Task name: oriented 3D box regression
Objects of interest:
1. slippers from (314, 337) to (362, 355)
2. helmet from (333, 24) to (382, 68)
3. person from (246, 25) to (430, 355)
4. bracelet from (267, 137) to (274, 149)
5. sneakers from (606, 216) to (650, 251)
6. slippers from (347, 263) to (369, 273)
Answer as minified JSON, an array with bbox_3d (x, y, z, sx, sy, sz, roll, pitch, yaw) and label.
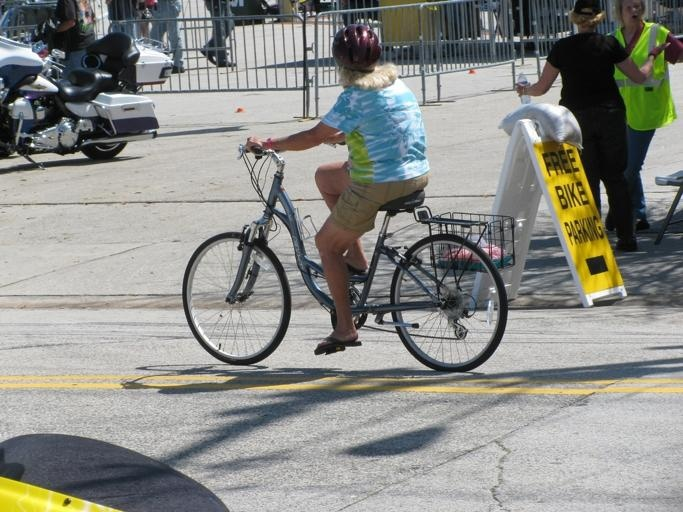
[{"bbox_3d":[-0.033,0.610,6.163,0.377,0.088,0.108,-2,-21,1],"label":"slippers"},{"bbox_3d":[0.089,-1.362,5.905,0.359,0.268,0.324,-1,33,-3],"label":"helmet"},{"bbox_3d":[0.102,-0.410,6.018,0.960,2.173,0.442,-1,17,-3],"label":"person"},{"bbox_3d":[-0.474,-0.769,6.175,0.072,0.058,0.039,3,-6,6],"label":"bracelet"},{"bbox_3d":[2.792,-0.216,8.840,0.287,0.218,0.647,-2,15,-2],"label":"sneakers"},{"bbox_3d":[0.120,0.092,6.320,0.124,0.033,0.059,5,9,19],"label":"slippers"}]
